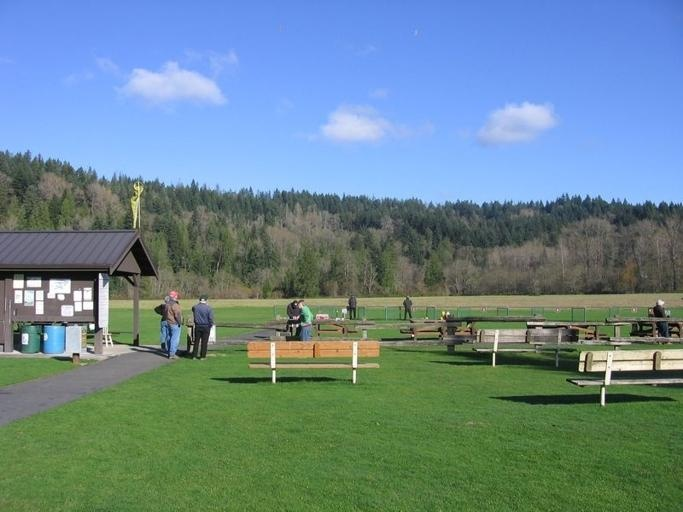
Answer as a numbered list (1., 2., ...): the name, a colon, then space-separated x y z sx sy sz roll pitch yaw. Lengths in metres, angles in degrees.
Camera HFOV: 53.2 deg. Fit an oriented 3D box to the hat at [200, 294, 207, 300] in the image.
1. hat: -4.377 1.376 21.755 0.189 0.262 0.245 2 19 -1
